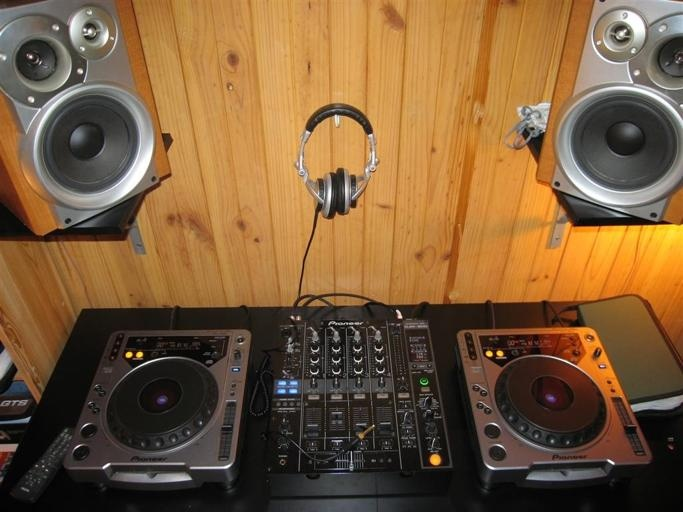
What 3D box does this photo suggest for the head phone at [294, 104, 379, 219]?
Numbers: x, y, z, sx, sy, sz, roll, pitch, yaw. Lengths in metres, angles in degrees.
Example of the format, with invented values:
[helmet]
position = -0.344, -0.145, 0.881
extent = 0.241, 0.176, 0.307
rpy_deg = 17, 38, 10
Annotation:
[head phone]
position = -0.020, -0.346, 1.639
extent = 0.354, 0.167, 0.435
rpy_deg = -1, -54, -4

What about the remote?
[remote]
position = -1.027, 0.738, 1.675
extent = 0.100, 0.320, 0.053
rpy_deg = 8, -55, 5
